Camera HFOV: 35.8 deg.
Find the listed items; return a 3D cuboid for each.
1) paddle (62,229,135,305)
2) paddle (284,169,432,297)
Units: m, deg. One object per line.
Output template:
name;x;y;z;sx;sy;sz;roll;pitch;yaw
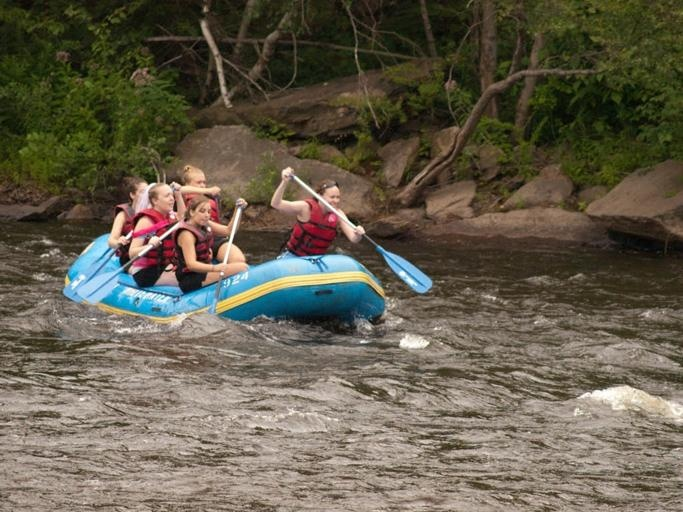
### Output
paddle;-3.261;0.192;13.897;0.477;0.089;1.403;19;24;-3
paddle;0.285;-0.313;15.941;3.457;0.489;0.144;36;33;-2
